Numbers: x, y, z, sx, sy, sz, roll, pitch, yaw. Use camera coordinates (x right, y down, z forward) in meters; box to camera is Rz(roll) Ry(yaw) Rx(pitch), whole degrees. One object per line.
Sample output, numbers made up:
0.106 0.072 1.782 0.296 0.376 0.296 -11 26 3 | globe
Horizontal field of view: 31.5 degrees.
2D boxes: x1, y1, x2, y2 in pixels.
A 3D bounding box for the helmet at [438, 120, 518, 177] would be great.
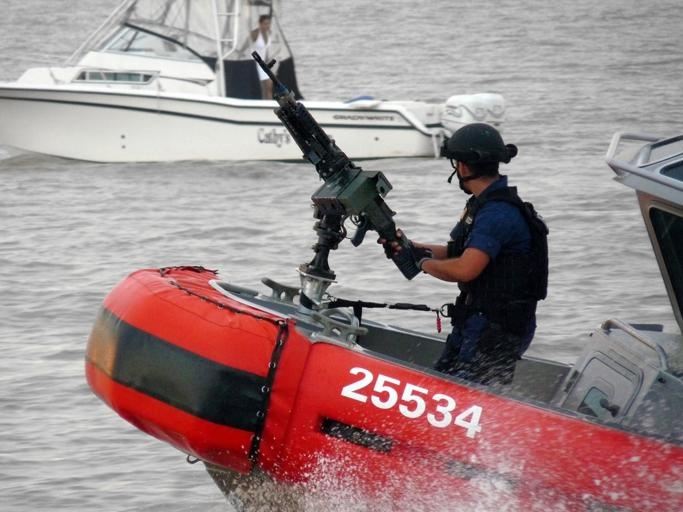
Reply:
0.957 -0.745 8.569 0.484 0.305 0.493 4 5 5 | helmet
